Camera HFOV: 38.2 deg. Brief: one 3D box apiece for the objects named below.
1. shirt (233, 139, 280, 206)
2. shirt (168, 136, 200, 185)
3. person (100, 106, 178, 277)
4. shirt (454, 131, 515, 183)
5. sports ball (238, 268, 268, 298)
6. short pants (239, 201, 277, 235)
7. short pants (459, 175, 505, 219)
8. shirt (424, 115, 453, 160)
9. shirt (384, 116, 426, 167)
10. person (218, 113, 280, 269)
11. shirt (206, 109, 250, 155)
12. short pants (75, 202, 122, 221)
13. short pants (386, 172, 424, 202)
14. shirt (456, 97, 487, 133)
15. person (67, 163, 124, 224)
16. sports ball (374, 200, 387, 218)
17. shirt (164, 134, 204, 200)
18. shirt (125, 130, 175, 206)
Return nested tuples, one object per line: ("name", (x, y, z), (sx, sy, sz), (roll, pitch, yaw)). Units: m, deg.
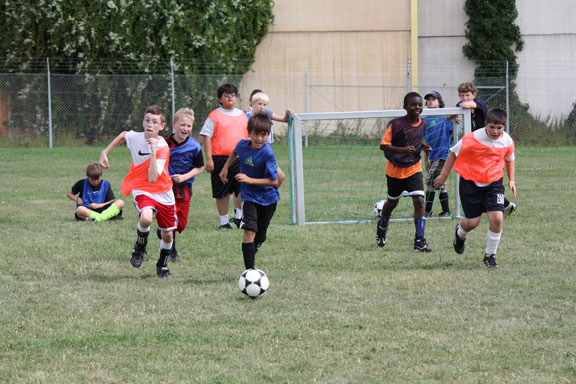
("shirt", (-0.475, -0.314, 12.214), (0.783, 0.889, 0.563), (14, 22, 32))
("shirt", (-1.624, -0.497, 12.752), (0.647, 0.795, 0.348), (3, 3, -2))
("person", (-2.041, -0.002, 12.224), (0.772, 2.497, 0.500), (0, 4, -9))
("shirt", (3.021, -0.535, 12.666), (0.856, 0.845, 0.470), (6, 8, -1))
("sports ball", (-0.502, 1.291, 11.796), (0.355, 0.374, 0.364), (1, -33, 1))
("short pants", (-0.455, 0.374, 12.256), (0.428, 0.493, 0.205), (28, -10, -32))
("short pants", (2.978, 0.110, 12.704), (0.633, 0.902, 0.472), (-2, -38, 12))
("shirt", (2.753, -0.993, 15.166), (0.707, 0.910, 0.228), (-8, -17, 37))
("shirt", (1.888, -0.821, 13.461), (0.847, 0.891, 0.498), (1, 3, -34))
("person", (-0.579, -0.037, 12.531), (0.781, 2.299, 1.599), (0, 4, -5))
("shirt", (-0.973, -1.042, 14.395), (0.825, 0.841, 0.458), (-7, -1, -16))
("short pants", (-3.396, 0.336, 14.899), (0.818, 0.295, 0.228), (-1, 5, -26))
("short pants", (1.923, -0.067, 13.672), (0.734, 0.650, 0.420), (-1, -7, 11))
("shirt", (3.322, -1.434, 15.087), (0.522, 0.954, 0.742), (-1, 10, 12))
("person", (-3.507, 0.016, 15.020), (0.971, 1.033, 0.801), (11, 14, 41))
("sports ball", (1.632, 0.307, 15.094), (0.277, 0.338, 0.283), (1, 11, 0))
("shirt", (-1.691, -0.415, 12.893), (0.728, 0.948, 0.338), (2, 17, -6))
("shirt", (-1.995, -0.516, 12.493), (0.584, 1.159, 0.439), (-9, 40, 20))
